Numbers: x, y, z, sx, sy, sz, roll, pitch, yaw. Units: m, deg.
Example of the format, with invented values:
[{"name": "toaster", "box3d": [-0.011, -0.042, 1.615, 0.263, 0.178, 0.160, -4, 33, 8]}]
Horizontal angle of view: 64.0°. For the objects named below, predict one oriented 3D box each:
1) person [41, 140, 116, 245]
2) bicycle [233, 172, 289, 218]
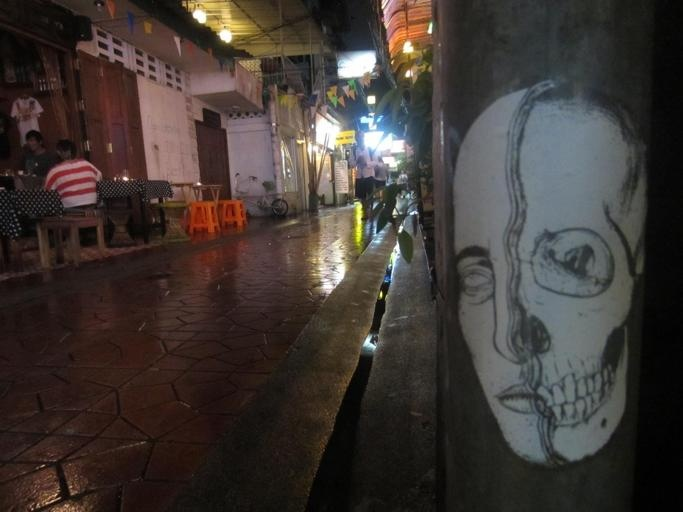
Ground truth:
[{"name": "person", "box3d": [-3.738, -1.140, 7.662, 0.514, 0.964, 0.880, -3, 8, -5]}, {"name": "bicycle", "box3d": [-2.652, -1.877, 18.054, 1.956, 1.322, 1.261, 20, 14, 20]}]
